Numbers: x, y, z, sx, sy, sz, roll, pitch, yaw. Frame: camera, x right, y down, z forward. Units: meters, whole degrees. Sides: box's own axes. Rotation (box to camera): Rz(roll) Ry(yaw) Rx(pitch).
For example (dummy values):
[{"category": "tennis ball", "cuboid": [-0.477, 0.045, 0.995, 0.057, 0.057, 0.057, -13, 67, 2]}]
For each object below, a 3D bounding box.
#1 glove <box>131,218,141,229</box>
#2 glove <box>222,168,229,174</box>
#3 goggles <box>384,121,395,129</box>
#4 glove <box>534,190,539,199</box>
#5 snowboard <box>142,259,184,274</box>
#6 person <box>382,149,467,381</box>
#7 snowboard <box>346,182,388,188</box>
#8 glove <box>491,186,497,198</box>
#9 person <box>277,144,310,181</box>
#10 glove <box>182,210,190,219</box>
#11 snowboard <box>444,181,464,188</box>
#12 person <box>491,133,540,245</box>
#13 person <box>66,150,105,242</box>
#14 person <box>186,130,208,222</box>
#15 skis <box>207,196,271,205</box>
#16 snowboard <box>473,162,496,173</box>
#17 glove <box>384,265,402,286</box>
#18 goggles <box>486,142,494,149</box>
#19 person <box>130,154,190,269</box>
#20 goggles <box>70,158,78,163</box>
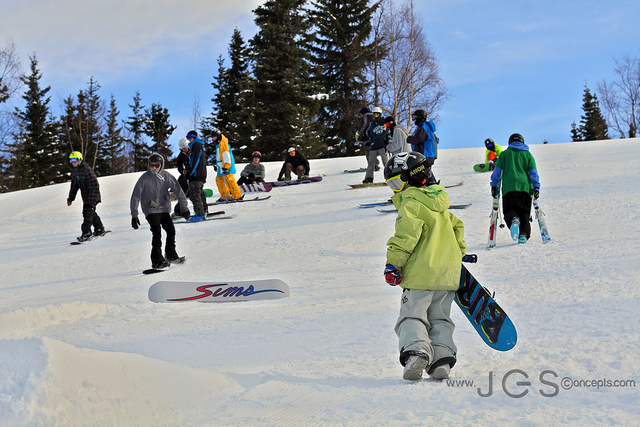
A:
[{"category": "glove", "cuboid": [-3.448, 0.183, 11.035, 0.149, 0.201, 0.057, -1, -13, -8]}, {"category": "glove", "cuboid": [-2.591, -1.191, 16.260, 0.165, 0.164, 0.276, -8, 14, -8]}, {"category": "goggles", "cuboid": [1.783, -2.308, 15.251, 0.215, 0.117, 0.044, -22, -14, -12]}, {"category": "glove", "cuboid": [3.789, -0.337, 10.341, 0.084, 0.108, 0.098, -8, 39, -13]}, {"category": "snowboard", "cuboid": [-2.913, 0.998, 10.987, 0.728, 0.215, 0.103, -18, -1, -27]}, {"category": "person", "cuboid": [1.194, 0.589, 6.673, 0.917, 2.447, 1.104, -3, 13, 11]}, {"category": "snowboard", "cuboid": [1.394, -0.848, 17.445, 1.133, 0.117, 0.397, -2, 14, 13]}, {"category": "glove", "cuboid": [3.107, -0.389, 10.551, 0.053, 0.195, 0.089, -3, 13, 12]}, {"category": "person", "cuboid": [-0.974, -1.630, 20.400, 1.089, 1.315, 0.714, 1, -10, -11]}, {"category": "glove", "cuboid": [-2.624, 0.021, 11.580, 0.126, 0.182, 0.274, -9, 14, -14]}, {"category": "snowboard", "cuboid": [3.568, -0.824, 16.332, 0.254, 0.194, 1.415, -7, 4, -10]}, {"category": "person", "cuboid": [3.444, -0.531, 10.514, 0.822, 2.026, 0.779, 0, -9, 21]}, {"category": "person", "cuboid": [-5.581, -0.445, 13.969, 0.750, 2.060, 1.389, -11, 14, -22]}, {"category": "person", "cuboid": [-3.066, -0.945, 14.638, 0.571, 2.181, 0.706, -9, 13, -11]}, {"category": "skis", "cuboid": [-2.268, -0.384, 17.028, 1.290, 0.098, 0.140, -5, 25, -1]}, {"category": "snowboard", "cuboid": [4.917, -1.389, 17.693, 0.490, 0.431, 0.831, -9, 6, -2]}, {"category": "glove", "cuboid": [0.805, 0.689, 6.660, 0.223, 0.222, 0.185, 2, -9, 12]}, {"category": "goggles", "cuboid": [4.795, -1.928, 16.702, 0.127, 0.154, 0.170, -19, 17, 3]}, {"category": "person", "cuboid": [-2.974, -0.065, 11.115, 1.021, 2.062, 0.685, -18, 18, -41]}, {"category": "goggles", "cuboid": [-5.645, -1.232, 13.573, 0.159, 0.115, 0.298, -10, 14, -19]}]
